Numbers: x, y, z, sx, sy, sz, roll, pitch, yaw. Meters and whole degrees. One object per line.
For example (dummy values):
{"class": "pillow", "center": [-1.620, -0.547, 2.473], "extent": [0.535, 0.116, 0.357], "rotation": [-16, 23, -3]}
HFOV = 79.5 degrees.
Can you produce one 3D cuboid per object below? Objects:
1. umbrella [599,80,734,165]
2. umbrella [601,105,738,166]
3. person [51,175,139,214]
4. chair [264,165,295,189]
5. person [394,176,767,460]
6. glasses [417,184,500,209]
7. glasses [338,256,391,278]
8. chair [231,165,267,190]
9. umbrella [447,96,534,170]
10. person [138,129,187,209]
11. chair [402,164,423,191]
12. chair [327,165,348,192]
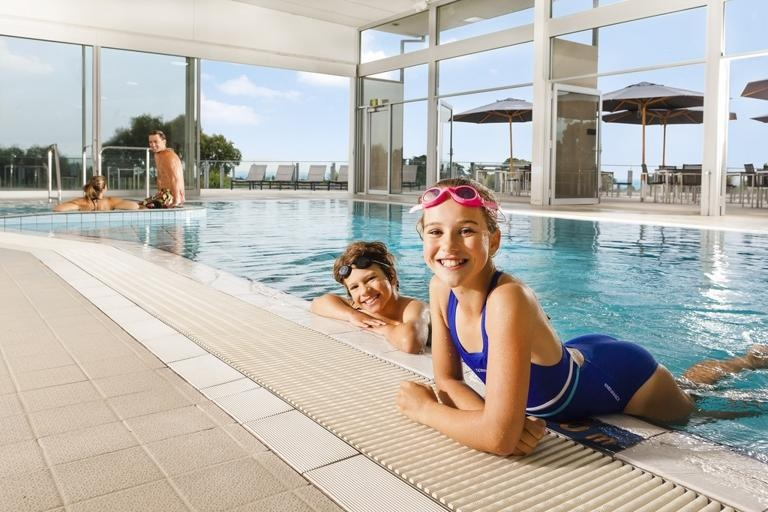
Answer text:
{"class": "umbrella", "center": [8.090, -4.046, 14.038], "extent": [2.933, 1.603, 2.587], "rotation": [-5, 12, -26]}
{"class": "umbrella", "center": [9.447, -4.137, 15.450], "extent": [2.677, 1.353, 2.516], "rotation": [-5, 8, -35]}
{"class": "person", "center": [-5.568, -1.161, 8.841], "extent": [0.555, 0.665, 1.570], "rotation": [16, 15, 32]}
{"class": "chair", "center": [-5.166, -4.059, 23.449], "extent": [1.362, 1.072, 1.428], "rotation": [3, 10, 19]}
{"class": "person", "center": [0.783, 0.232, 1.815], "extent": [1.445, 1.051, 0.460], "rotation": [-5, 13, -29]}
{"class": "glasses", "center": [0.231, -0.185, 1.456], "extent": [0.264, 0.082, 0.113], "rotation": [1, 10, 4]}
{"class": "glasses", "center": [-0.135, 0.069, 3.069], "extent": [0.330, 0.155, 0.091], "rotation": [1, 11, 1]}
{"class": "chair", "center": [-6.679, -4.111, 23.440], "extent": [1.150, 1.055, 1.878], "rotation": [7, 10, 26]}
{"class": "umbrella", "center": [3.441, -3.919, 14.847], "extent": [2.264, 1.303, 2.256], "rotation": [-4, 9, -7]}
{"class": "person", "center": [-4.509, -1.764, 9.346], "extent": [0.669, 1.540, 0.853], "rotation": [-2, 12, -14]}
{"class": "chair", "center": [1.046, -2.939, 16.825], "extent": [0.821, 0.917, 0.912], "rotation": [1, 11, 16]}
{"class": "chair", "center": [-2.333, -3.940, 22.831], "extent": [1.032, 1.259, 0.972], "rotation": [-1, 11, -9]}
